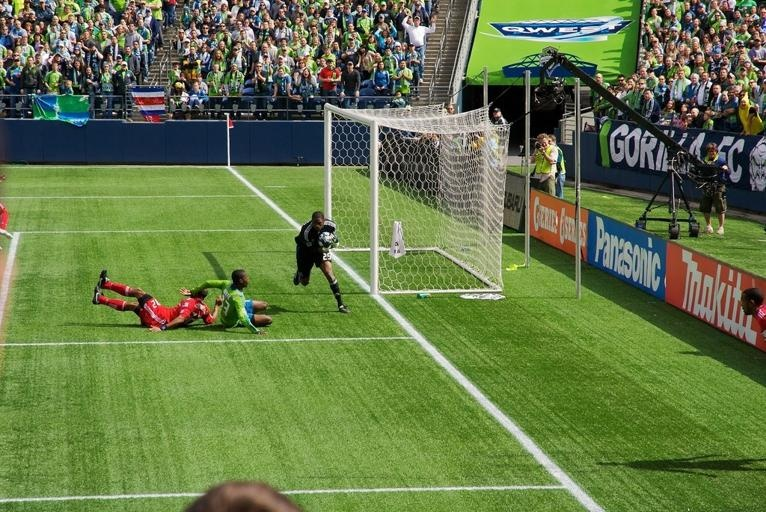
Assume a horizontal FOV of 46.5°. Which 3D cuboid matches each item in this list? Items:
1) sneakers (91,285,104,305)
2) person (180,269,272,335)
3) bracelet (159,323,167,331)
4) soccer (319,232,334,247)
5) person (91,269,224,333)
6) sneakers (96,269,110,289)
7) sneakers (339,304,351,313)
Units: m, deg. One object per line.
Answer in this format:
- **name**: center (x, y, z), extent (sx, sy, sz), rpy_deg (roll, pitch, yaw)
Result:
- **sneakers**: center (-4.978, 0.679, 15.475), extent (0.153, 0.337, 0.124), rpy_deg (-13, -29, 32)
- **person**: center (-2.523, 0.697, 14.957), extent (1.230, 1.133, 0.942), rpy_deg (3, 17, 5)
- **bracelet**: center (-3.649, 1.178, 14.772), extent (0.107, 0.102, 0.035), rpy_deg (-36, 0, -23)
- **soccer**: center (-0.995, -0.285, 15.552), extent (0.201, 0.249, 0.244), rpy_deg (3, -6, 0)
- **person**: center (-3.907, 0.852, 15.078), extent (1.590, 0.639, 1.203), rpy_deg (16, 0, -10)
- **sneakers**: center (-5.017, 0.416, 15.899), extent (0.125, 0.280, 0.104), rpy_deg (-4, -20, 43)
- **sneakers**: center (-0.699, 0.950, 16.032), extent (0.201, 0.135, 0.113), rpy_deg (-5, 5, -13)
